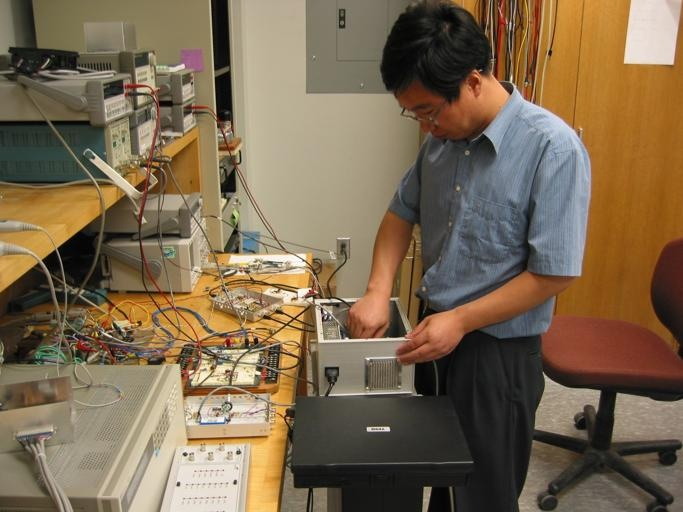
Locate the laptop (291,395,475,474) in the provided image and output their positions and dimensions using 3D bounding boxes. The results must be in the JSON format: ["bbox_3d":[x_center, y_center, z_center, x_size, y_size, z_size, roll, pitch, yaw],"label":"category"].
[{"bbox_3d":[0.104,0.502,1.558,0.470,0.117,0.257,-4,16,-1],"label":"laptop"}]
